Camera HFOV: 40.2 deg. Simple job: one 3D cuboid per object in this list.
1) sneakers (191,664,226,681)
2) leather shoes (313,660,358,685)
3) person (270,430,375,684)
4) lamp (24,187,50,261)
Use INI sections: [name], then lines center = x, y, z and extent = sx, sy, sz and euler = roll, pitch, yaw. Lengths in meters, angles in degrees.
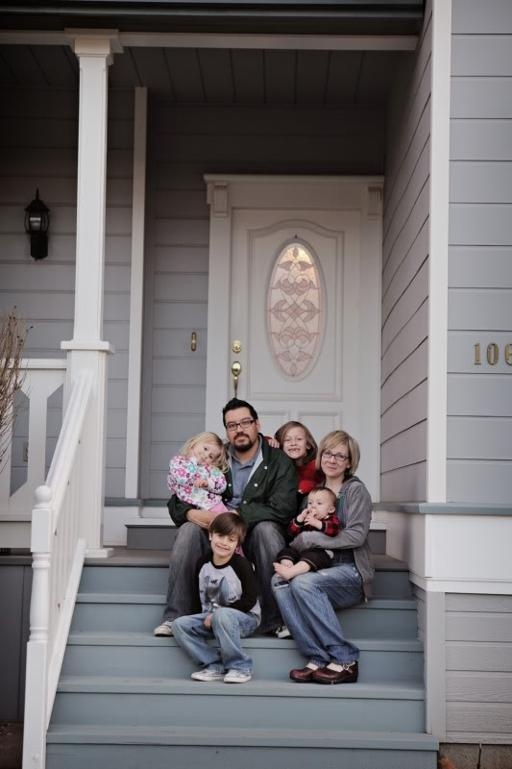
[sneakers]
center = -0.161, 0.972, 2.356
extent = 0.109, 0.046, 0.045
euler = 5, -13, -9
[leather shoes]
center = 0.276, 0.986, 2.391
extent = 0.155, 0.069, 0.061
euler = 9, -14, -25
[person]
center = 0.256, 0.601, 2.566
extent = 0.314, 0.860, 0.434
euler = 0, -5, 21
[lamp]
center = -1.332, -0.979, 4.246
extent = 0.148, 0.436, 0.111
euler = 2, -5, -7
